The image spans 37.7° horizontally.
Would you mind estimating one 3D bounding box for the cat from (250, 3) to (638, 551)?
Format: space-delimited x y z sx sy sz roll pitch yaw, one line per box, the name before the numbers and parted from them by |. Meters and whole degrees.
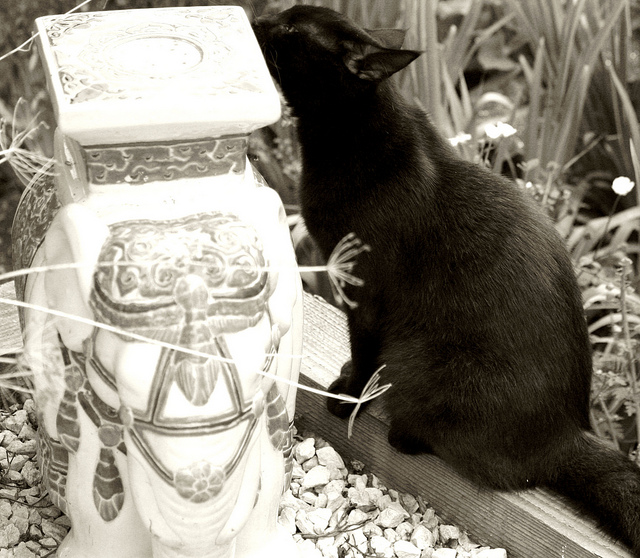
cat | 0.337 0.013 2.591 1.545 0.865 0.449 47 45 14
